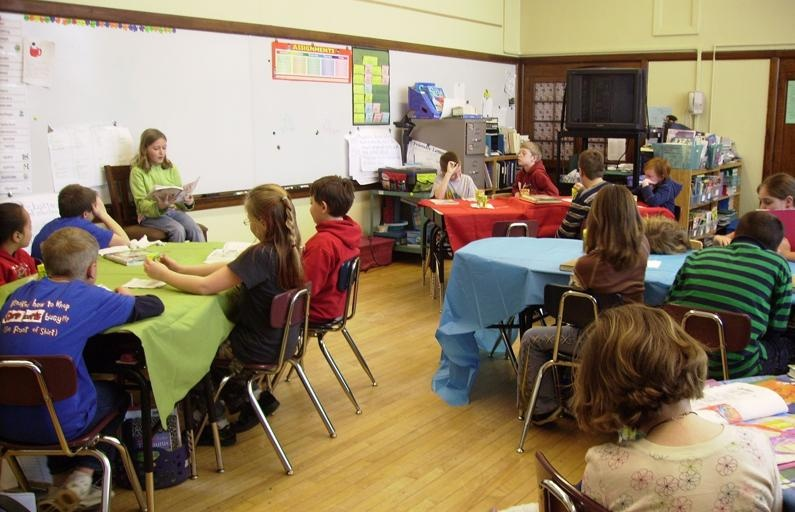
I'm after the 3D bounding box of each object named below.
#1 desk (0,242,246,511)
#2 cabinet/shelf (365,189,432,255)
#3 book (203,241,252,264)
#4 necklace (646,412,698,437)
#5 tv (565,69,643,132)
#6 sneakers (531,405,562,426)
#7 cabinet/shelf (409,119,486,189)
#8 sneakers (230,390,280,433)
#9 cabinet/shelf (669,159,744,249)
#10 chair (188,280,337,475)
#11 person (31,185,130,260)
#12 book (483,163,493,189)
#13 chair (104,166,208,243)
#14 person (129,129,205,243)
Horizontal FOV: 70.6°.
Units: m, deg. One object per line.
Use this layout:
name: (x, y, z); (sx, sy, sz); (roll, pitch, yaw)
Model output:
desk: (-1.526, 0.392, 3.192); (1.151, 0.832, 1.583); (4, 12, 18)
cabinet/shelf: (-0.016, -0.430, 7.212); (0.997, 0.980, 0.765); (4, 3, 1)
book: (-1.110, -0.012, 3.625); (0.186, 0.049, 0.199); (3, 14, 12)
necklace: (0.840, 0.504, 1.730); (0.093, 0.030, 0.110); (-3, 33, 32)
tv: (2.571, -1.918, 6.970); (0.935, 0.744, 0.355); (3, 15, 18)
sneakers: (0.941, 1.018, 3.592); (0.224, 0.104, 0.082); (-25, 11, 19)
cabinet/shelf: (0.771, -1.512, 8.118); (1.091, 1.229, 0.684); (8, 8, 38)
sneakers: (-0.938, 1.021, 3.677); (0.165, 0.089, 0.290); (31, 54, 22)
cabinet/shelf: (3.629, -0.638, 6.657); (1.188, 1.102, 0.375); (-13, 18, -40)
chair: (-0.710, 0.631, 3.757); (1.018, 1.426, 0.884); (5, 5, 17)
person: (-2.260, -0.236, 3.934); (0.422, 0.750, 0.404); (11, 22, 13)
book: (1.313, -1.141, 8.148); (0.069, 0.311, 0.304); (-10, 3, 24)
chair: (-2.145, -0.516, 5.380); (0.657, 0.980, 0.574); (4, 8, 32)
person: (-2.159, -0.502, 5.315); (0.761, 1.292, 0.530); (14, 18, 33)
